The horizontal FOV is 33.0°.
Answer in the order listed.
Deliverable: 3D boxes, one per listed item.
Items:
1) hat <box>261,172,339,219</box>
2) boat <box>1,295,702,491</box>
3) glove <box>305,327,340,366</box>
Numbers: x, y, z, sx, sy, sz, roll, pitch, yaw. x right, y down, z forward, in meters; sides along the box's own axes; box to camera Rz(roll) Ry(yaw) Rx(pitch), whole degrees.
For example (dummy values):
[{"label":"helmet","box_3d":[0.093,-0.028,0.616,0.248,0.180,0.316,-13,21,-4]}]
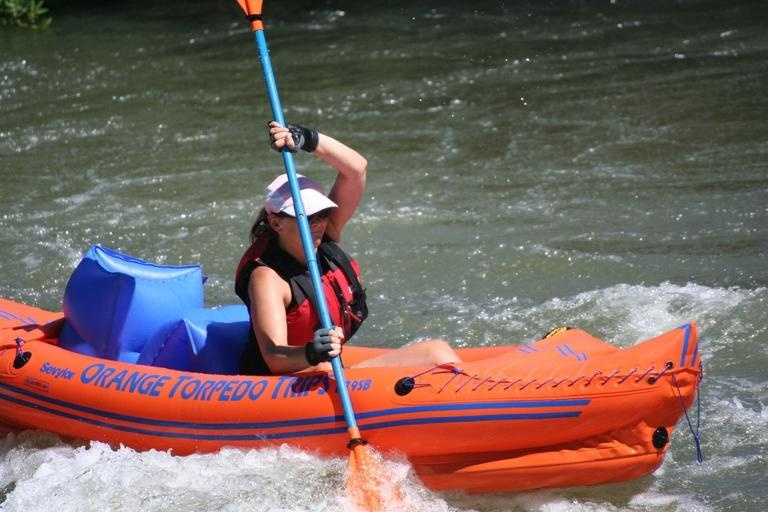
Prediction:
[{"label":"hat","box_3d":[-0.632,-0.461,9.856,0.522,0.164,0.341,11,23,39]},{"label":"boat","box_3d":[-0.003,1.142,10.166,6.540,1.086,1.635,2,6,10]},{"label":"glove","box_3d":[-0.467,0.675,9.645,0.250,0.264,0.156,-6,21,-2]}]
